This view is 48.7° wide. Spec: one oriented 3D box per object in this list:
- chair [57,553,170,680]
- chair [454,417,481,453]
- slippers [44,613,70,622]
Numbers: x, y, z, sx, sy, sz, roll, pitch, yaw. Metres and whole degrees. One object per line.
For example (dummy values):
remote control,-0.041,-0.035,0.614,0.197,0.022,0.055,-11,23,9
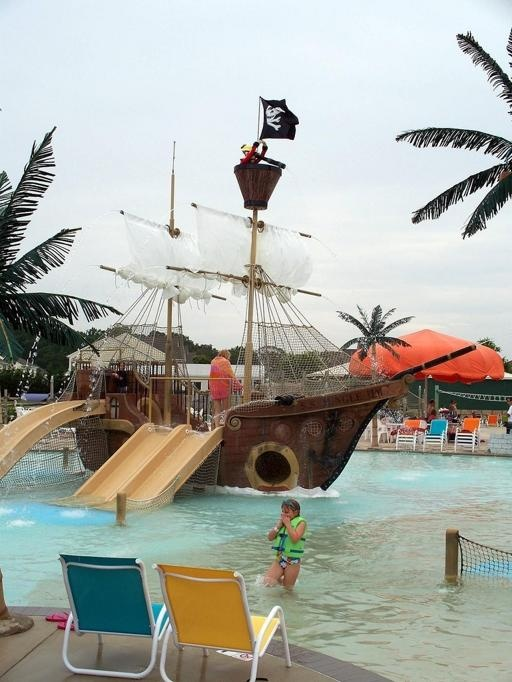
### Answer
chair,-0.866,1.627,3.557,0.604,0.673,0.826,-1,-9,12
chair,8.555,3.888,23.006,0.777,1.419,1.011,-1,-45,26
slippers,-1.459,2.064,4.208,0.116,0.045,0.156,4,-2,1
